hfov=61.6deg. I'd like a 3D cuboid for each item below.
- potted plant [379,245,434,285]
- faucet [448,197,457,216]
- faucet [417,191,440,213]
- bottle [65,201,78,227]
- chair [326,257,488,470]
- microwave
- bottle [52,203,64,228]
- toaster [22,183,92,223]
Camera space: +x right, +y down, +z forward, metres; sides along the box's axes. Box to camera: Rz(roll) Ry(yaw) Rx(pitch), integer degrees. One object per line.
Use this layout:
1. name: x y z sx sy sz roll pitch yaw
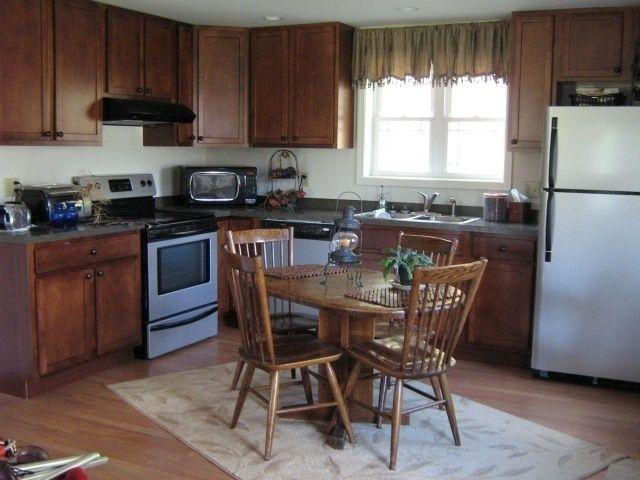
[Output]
1. potted plant: 0.476 0.133 2.952 0.301 0.149 0.274 2 1 27
2. faucet: 1.181 -0.292 4.730 0.069 0.148 0.115 3 12 8
3. faucet: 0.957 -0.340 4.762 0.207 0.186 0.249 3 11 9
4. bottle: -1.766 -0.181 3.799 0.073 0.151 0.272 -4 12 -23
5. chair: 0.525 0.594 2.971 0.677 1.085 0.781 11 16 37
6. microwave: -0.938 -0.510 5.003 0.742 0.304 0.413 -1 2 -14
7. bottle: -1.791 -0.165 3.654 0.069 0.150 0.079 2 13 6
8. toaster: -1.990 -0.263 3.980 0.367 0.219 0.416 4 10 20
